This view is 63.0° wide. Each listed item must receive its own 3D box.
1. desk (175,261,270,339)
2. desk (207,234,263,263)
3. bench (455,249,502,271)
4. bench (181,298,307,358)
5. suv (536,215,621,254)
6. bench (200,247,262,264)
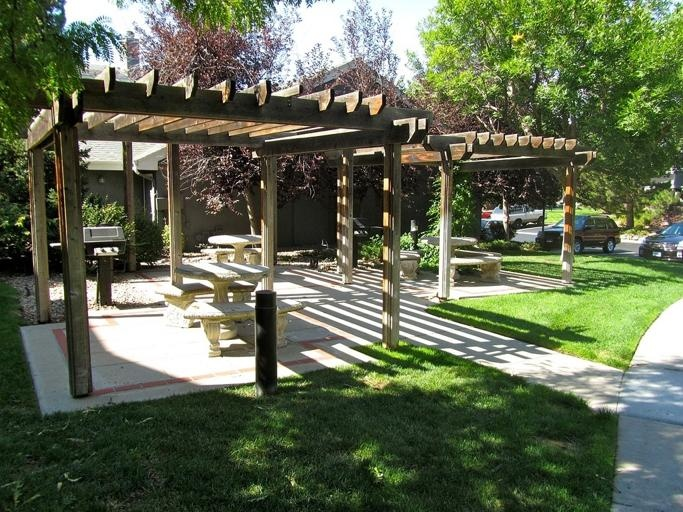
[{"bbox_3d":[-1.765,0.746,8.503,1.182,0.831,1.194,14,17,37],"label":"desk"},{"bbox_3d":[-3.040,-0.304,15.596,1.657,0.676,8.068,-1,4,-14],"label":"desk"},{"bbox_3d":[3.150,0.064,13.027,0.778,0.173,0.768,-4,7,-30],"label":"bench"},{"bbox_3d":[-1.396,0.978,7.865,1.428,0.656,1.113,0,4,-6],"label":"bench"},{"bbox_3d":[9.333,-0.856,21.977,3.007,1.323,1.657,0,2,-27],"label":"suv"},{"bbox_3d":[-2.378,-0.004,13.159,1.037,0.240,1.022,4,6,30],"label":"bench"}]
